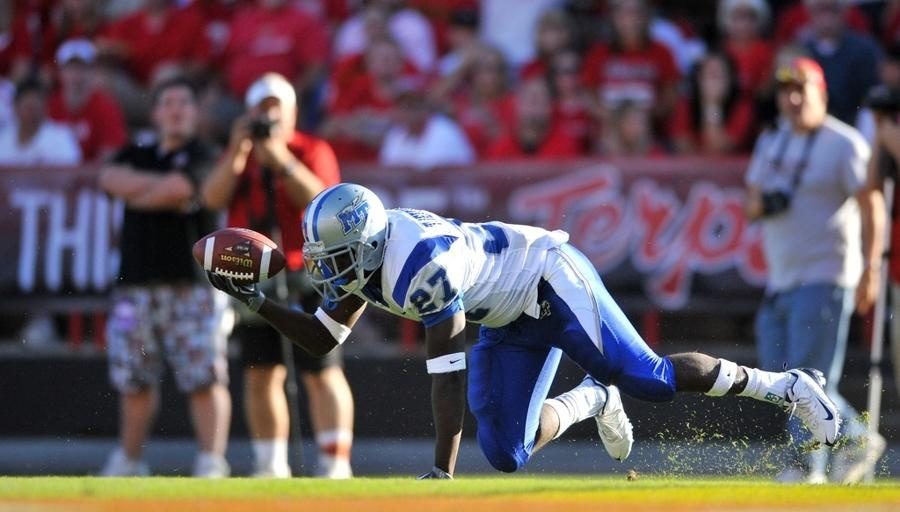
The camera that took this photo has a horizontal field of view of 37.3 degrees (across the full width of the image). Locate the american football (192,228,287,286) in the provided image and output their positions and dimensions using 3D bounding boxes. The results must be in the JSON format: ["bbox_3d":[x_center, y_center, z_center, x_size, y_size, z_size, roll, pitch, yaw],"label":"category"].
[{"bbox_3d":[-1.448,0.003,9.240,0.549,0.355,0.346,14,-39,1],"label":"american football"}]

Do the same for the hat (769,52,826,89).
[{"bbox_3d":[2.754,-1.372,10.378,0.405,0.317,0.184,10,-52,-7],"label":"hat"}]

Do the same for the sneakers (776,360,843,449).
[{"bbox_3d":[2.620,1.102,9.708,0.276,0.557,0.211,-16,-23,-25],"label":"sneakers"}]

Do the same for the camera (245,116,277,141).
[{"bbox_3d":[-1.422,-0.982,10.160,0.182,0.154,0.055,1,-1,18],"label":"camera"}]
